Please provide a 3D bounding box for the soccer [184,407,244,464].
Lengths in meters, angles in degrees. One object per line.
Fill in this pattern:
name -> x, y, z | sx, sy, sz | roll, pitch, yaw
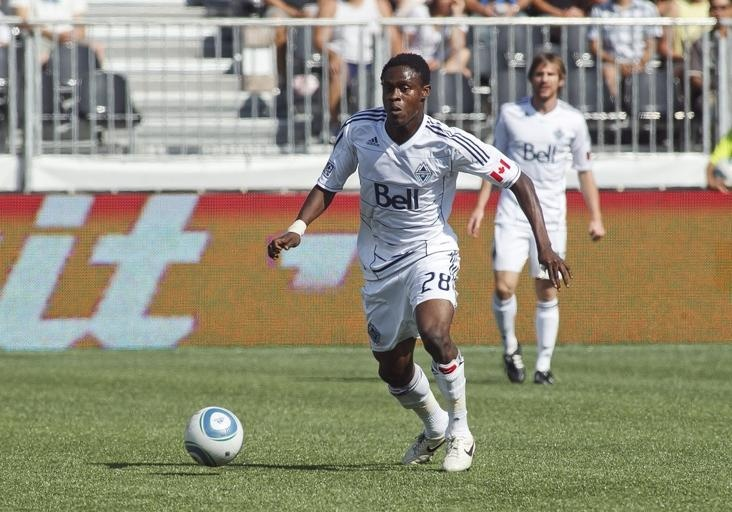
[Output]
soccer -> -1.209, 1.439, 13.618 | 0.456, 0.502, 0.486 | 3, 13, -3

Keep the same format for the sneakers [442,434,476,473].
sneakers -> 0.769, 1.572, 13.492 | 0.257, 0.257, 0.253 | -1, 12, -3
